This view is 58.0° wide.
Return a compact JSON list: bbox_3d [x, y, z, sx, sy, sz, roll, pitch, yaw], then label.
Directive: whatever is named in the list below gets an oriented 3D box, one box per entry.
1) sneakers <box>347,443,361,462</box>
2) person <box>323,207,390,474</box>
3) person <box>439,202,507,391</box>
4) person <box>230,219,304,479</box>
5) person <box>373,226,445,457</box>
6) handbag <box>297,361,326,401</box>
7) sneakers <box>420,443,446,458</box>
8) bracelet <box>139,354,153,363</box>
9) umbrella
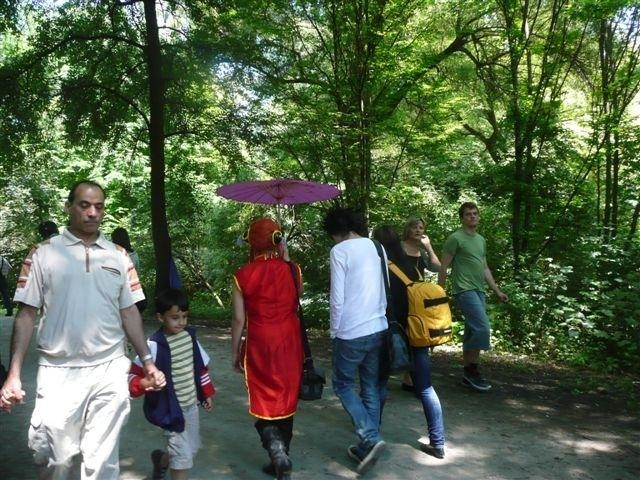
[{"bbox_3d":[0.321,1.934,5.299,0.054,0.148,0.110,-37,-13,-22],"label":"sneakers"},{"bbox_3d":[0.307,0.858,5.249,0.614,2.250,0.596,2,0,3],"label":"person"},{"bbox_3d":[2.011,0.758,7.682,0.777,2.464,1.330,3,1,20],"label":"person"},{"bbox_3d":[-0.458,1.030,4.886,0.638,1.874,0.522,2,0,-2],"label":"person"},{"bbox_3d":[0.833,0.847,5.741,0.861,2.602,0.710,-5,-30,9],"label":"person"},{"bbox_3d":[-0.080,1.192,5.177,0.275,0.427,0.347,-2,-4,-3],"label":"handbag"},{"bbox_3d":[1.085,1.976,5.554,0.248,0.096,0.090,20,13,34],"label":"sneakers"},{"bbox_3d":[-1.281,0.867,4.282,0.073,0.025,0.068,-4,-15,-43],"label":"bracelet"},{"bbox_3d":[-0.571,-0.455,6.706,1.327,0.569,1.151,-8,20,-37],"label":"umbrella"}]
